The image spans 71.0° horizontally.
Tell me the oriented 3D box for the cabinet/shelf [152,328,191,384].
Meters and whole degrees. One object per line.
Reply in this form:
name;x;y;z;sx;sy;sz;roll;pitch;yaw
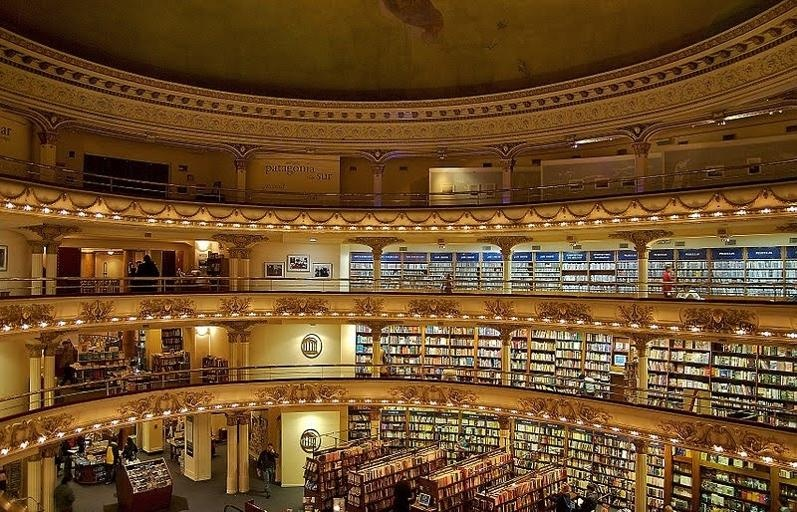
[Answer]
cabinet/shelf;-11.632;5.027;28.541;1.851;2.632;2.897;1;-5;-28

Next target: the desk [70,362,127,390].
desk;-14.081;5.526;26.108;2.211;1.100;2.112;1;-6;-27

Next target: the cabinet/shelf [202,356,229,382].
cabinet/shelf;-9.287;5.713;28.125;1.120;2.015;1.123;2;-6;-29
